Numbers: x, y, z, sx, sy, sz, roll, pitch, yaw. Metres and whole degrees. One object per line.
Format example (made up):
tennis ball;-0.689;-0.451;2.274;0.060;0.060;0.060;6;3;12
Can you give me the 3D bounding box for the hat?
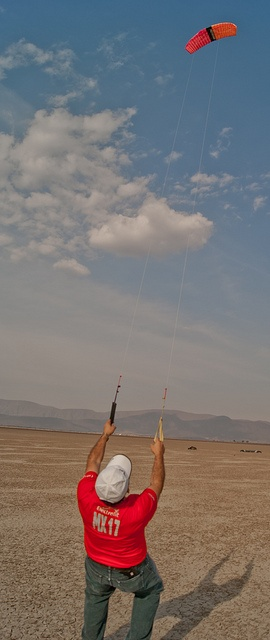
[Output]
hat;-0.179;1.276;3.714;0.258;0.348;0.399;10;13;8
